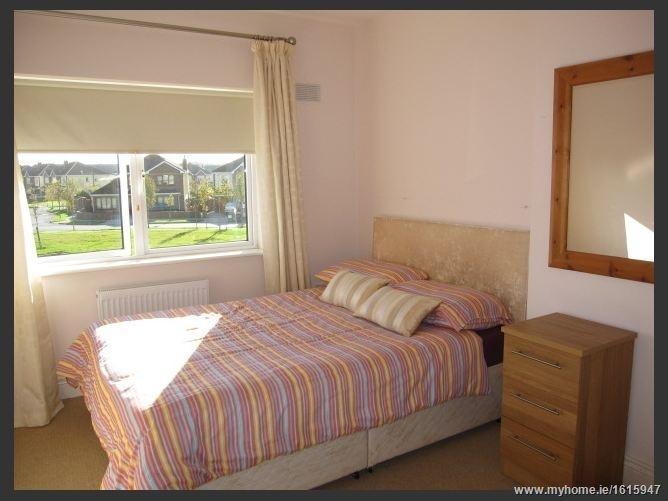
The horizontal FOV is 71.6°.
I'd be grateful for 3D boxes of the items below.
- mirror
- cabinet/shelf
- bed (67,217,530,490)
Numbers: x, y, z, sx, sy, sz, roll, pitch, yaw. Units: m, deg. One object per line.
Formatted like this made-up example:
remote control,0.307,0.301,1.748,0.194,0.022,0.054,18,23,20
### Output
mirror,1.435,-0.440,2.498,0.167,1.162,0.636,-9,15,-31
cabinet/shelf,1.220,0.839,2.476,0.543,0.821,0.561,-3,7,-7
bed,-0.130,0.652,2.720,2.182,1.002,1.559,-7,12,-35
